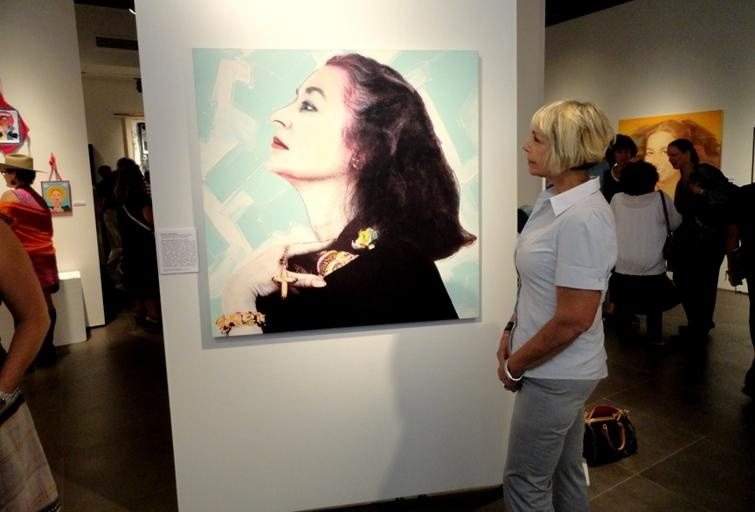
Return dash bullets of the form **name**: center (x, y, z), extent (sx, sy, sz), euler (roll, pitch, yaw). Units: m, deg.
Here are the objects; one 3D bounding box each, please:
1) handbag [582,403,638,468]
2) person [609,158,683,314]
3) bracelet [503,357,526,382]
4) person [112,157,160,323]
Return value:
- **handbag**: center (1.804, 1.407, 4.324), extent (0.452, 0.397, 0.226), euler (-1, -10, -23)
- **person**: center (3.042, -0.036, 6.261), extent (0.738, 2.090, 0.733), euler (4, 22, 37)
- **bracelet**: center (0.779, 0.642, 3.116), extent (0.097, 0.119, 0.044), euler (30, -23, -36)
- **person**: center (-3.094, -0.142, 7.052), extent (0.402, 2.174, 0.494), euler (-7, 9, -26)
